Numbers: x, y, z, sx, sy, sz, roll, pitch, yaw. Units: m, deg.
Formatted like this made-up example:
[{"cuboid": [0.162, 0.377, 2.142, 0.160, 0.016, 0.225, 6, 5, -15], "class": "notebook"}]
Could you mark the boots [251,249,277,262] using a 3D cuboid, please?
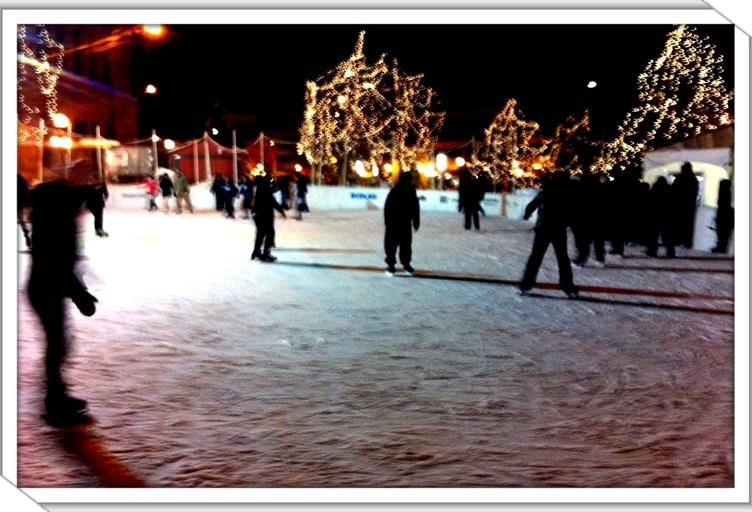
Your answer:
[{"cuboid": [-2.681, 0.022, 13.762, 0.767, 0.255, 0.229, 2, 6, 0], "class": "boots"}]

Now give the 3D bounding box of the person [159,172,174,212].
[{"cuboid": [-10.183, -3.127, 28.031, 0.614, 1.886, 1.091, 2, -24, -10], "class": "person"}]

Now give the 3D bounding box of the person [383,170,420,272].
[{"cuboid": [0.516, -0.721, 12.228, 0.702, 2.129, 0.785, 2, 8, 1], "class": "person"}]

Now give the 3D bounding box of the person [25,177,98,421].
[{"cuboid": [-2.976, 0.399, 5.473, 0.547, 2.188, 0.762, -2, 9, -24], "class": "person"}]
